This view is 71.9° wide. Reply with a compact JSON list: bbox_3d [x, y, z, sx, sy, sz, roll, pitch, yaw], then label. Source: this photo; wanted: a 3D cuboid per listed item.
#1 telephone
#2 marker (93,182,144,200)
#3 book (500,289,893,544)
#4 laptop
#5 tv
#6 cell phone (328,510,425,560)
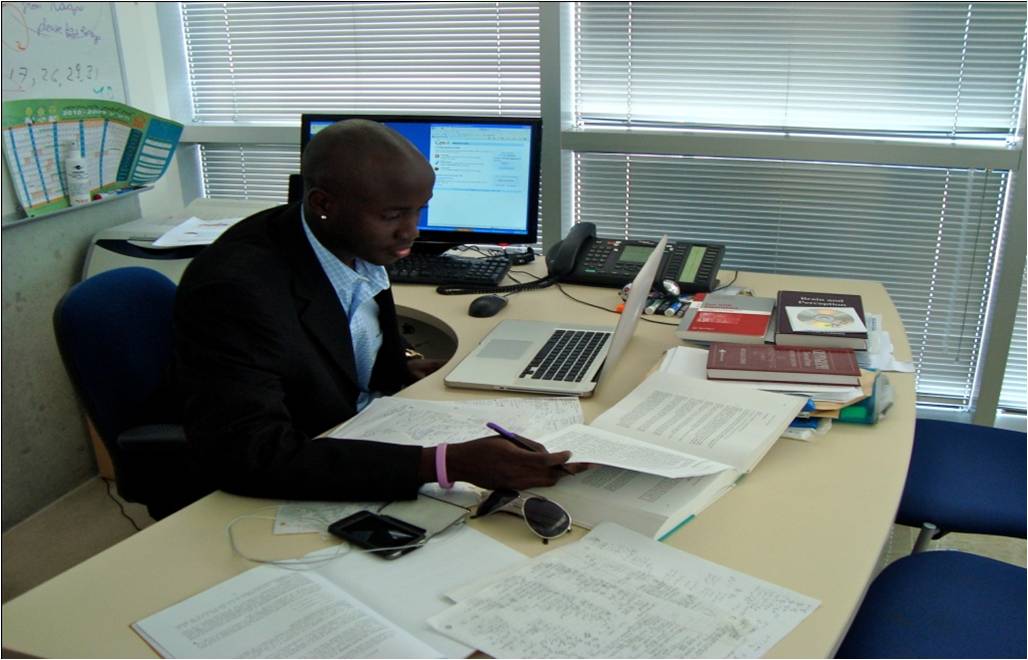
[{"bbox_3d":[0.326,-0.267,2.580,0.365,0.086,0.282,5,34,19],"label":"telephone"},{"bbox_3d":[-1.712,-0.605,3.069,0.037,0.047,0.298,-22,-1,28],"label":"marker"},{"bbox_3d":[0.305,0.204,1.609,0.387,0.106,0.700,18,38,39],"label":"book"},{"bbox_3d":[0.075,0.016,2.012,0.636,0.300,0.530,8,30,18],"label":"laptop"},{"bbox_3d":[-0.265,-0.467,2.251,0.878,0.348,0.054,3,11,6],"label":"tv"},{"bbox_3d":[-0.284,0.425,1.489,0.159,0.022,0.087,14,32,21],"label":"cell phone"}]
